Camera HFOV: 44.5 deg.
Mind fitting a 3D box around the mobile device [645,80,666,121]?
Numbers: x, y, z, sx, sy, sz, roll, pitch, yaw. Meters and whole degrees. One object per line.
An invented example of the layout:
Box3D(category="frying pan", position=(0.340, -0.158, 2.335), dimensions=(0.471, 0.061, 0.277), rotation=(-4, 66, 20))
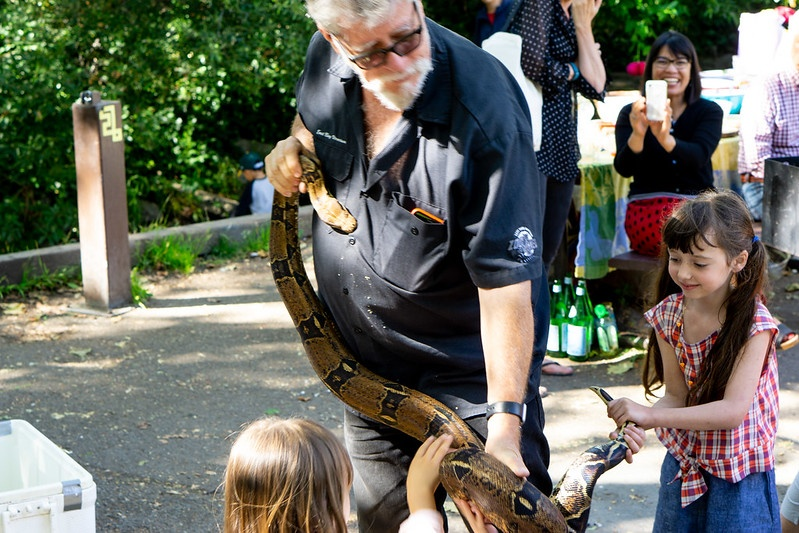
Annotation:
Box3D(category="mobile device", position=(2.483, -1.604, 9.482), dimensions=(0.200, 0.400, 0.151), rotation=(-3, 5, 14))
